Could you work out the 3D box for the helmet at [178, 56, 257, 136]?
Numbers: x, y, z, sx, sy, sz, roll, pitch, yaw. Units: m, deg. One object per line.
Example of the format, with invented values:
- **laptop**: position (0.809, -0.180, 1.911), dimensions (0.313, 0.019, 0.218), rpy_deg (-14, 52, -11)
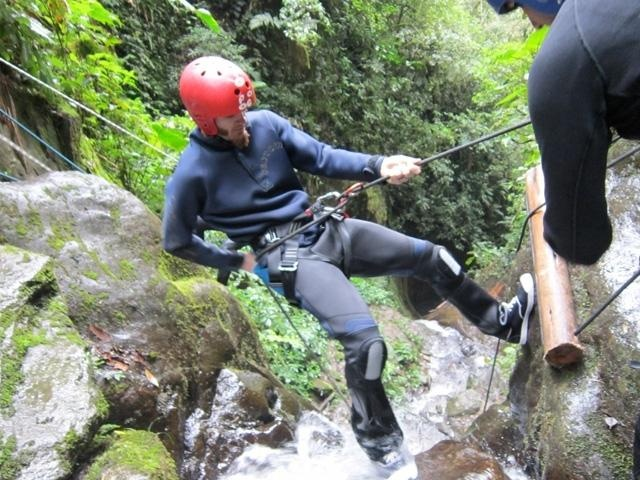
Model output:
- **helmet**: position (-0.734, -1.124, 4.466), dimensions (0.567, 0.496, 0.470), rpy_deg (22, 53, 9)
